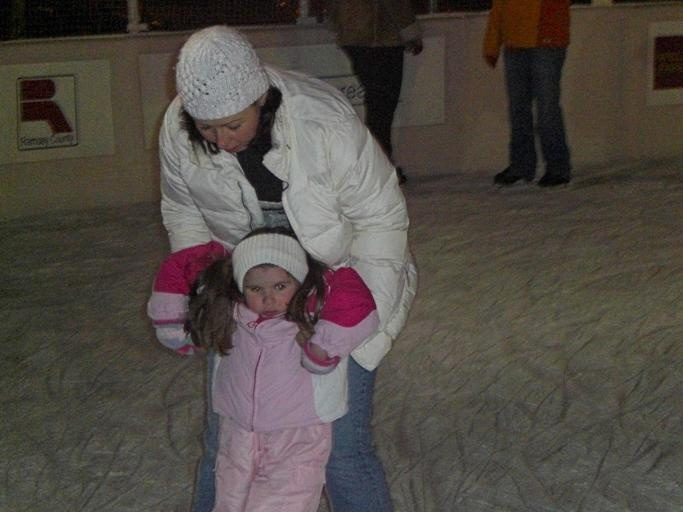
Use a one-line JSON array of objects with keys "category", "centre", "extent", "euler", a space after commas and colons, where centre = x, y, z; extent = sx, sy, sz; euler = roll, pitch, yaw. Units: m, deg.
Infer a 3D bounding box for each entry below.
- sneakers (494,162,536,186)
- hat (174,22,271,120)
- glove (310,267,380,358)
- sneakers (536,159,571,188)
[{"category": "sneakers", "centre": [1.665, -0.798, 5.195], "extent": [0.367, 0.173, 0.198], "euler": [-1, 23, -2]}, {"category": "hat", "centre": [-0.306, -0.467, 1.444], "extent": [0.213, 0.182, 0.233], "euler": [-16, 37, 10]}, {"category": "glove", "centre": [0.008, 0.164, 1.468], "extent": [0.163, 0.237, 0.081], "euler": [-16, -25, 21]}, {"category": "sneakers", "centre": [2.007, -0.774, 5.006], "extent": [0.291, 0.231, 0.186], "euler": [-12, 15, -14]}]
